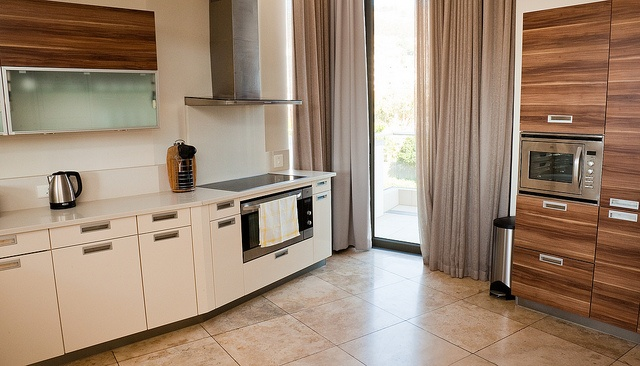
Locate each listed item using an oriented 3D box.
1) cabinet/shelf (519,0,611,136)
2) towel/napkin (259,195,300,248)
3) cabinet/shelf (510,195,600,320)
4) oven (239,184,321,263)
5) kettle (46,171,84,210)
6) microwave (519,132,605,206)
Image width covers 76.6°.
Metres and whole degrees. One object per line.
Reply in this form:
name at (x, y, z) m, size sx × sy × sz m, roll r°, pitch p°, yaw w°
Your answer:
cabinet/shelf at (2.510, -1.167, 4.174) m, size 0.842 × 1.283 × 0.325 m, roll 5°, pitch 16°, yaw 22°
towel/napkin at (-0.520, 0.449, 4.888) m, size 0.069 × 0.505 × 0.681 m, roll 3°, pitch 11°, yaw 43°
cabinet/shelf at (2.819, 0.773, 4.546) m, size 0.866 × 1.122 × 0.950 m, roll 0°, pitch 4°, yaw -18°
oven at (-0.750, 0.458, 5.179) m, size 0.750 × 0.718 × 1.311 m, roll 6°, pitch 12°, yaw 32°
kettle at (-2.668, 0.059, 4.225) m, size 0.331 × 0.373 × 0.280 m, roll -9°, pitch 16°, yaw -28°
microwave at (2.627, -0.163, 4.455) m, size 0.811 × 0.619 × 0.534 m, roll 7°, pitch 4°, yaw 36°
